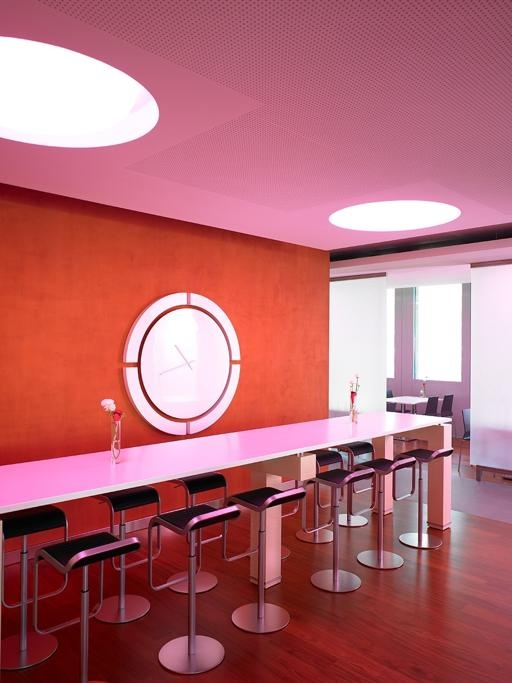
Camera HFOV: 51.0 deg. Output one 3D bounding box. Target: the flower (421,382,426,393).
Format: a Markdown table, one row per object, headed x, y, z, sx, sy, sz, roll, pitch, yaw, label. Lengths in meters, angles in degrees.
| x | y | z | sx | sy | sz | roll | pitch | yaw | label |
| --- | --- | --- | --- | --- | --- | --- | --- | --- | --- |
| 2.794 | 0.775 | 8.962 | 0.049 | 0.217 | 0.087 | 0 | 0 | -6 | flower |
